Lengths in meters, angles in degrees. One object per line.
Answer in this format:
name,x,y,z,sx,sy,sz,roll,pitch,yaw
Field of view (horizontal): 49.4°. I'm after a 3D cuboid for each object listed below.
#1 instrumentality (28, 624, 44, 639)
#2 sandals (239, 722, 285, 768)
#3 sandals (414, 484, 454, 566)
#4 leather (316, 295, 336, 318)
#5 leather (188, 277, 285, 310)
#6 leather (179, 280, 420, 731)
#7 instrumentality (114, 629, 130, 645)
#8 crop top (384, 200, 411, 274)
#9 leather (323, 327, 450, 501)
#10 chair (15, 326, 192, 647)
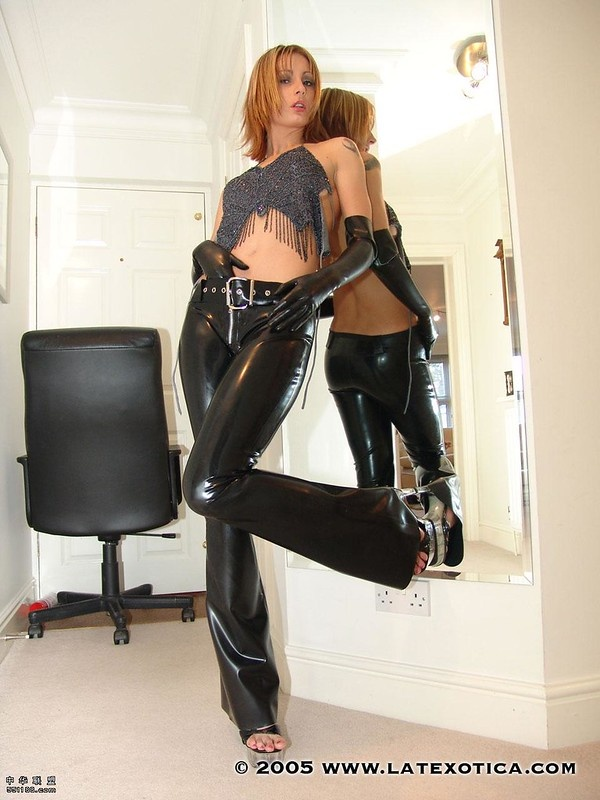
instrumentality,-0.980,0.860,2.425,0.059,0.055,0.032,1,7,-14
sandals,-0.073,0.718,1.357,0.050,0.056,0.143,1,-16,-3
sandals,0.313,0.266,1.507,0.076,0.221,0.087,-10,-24,34
leather,0.070,-0.254,1.735,0.050,0.081,0.045,-9,26,-16
leather,-0.145,-0.231,1.413,0.129,0.047,0.096,4,9,20
leather,-0.011,0.204,1.408,0.477,0.968,0.357,0,-6,-12
instrumentality,-0.631,0.837,2.307,0.055,0.052,0.056,1,23,-2
crop top,0.249,-0.426,1.675,0.066,0.140,0.105,-9,6,23
leather,0.238,0.065,1.754,0.283,0.566,0.188,-6,25,9
chair,-0.723,0.310,2.472,0.616,1.147,0.363,0,-6,-9
